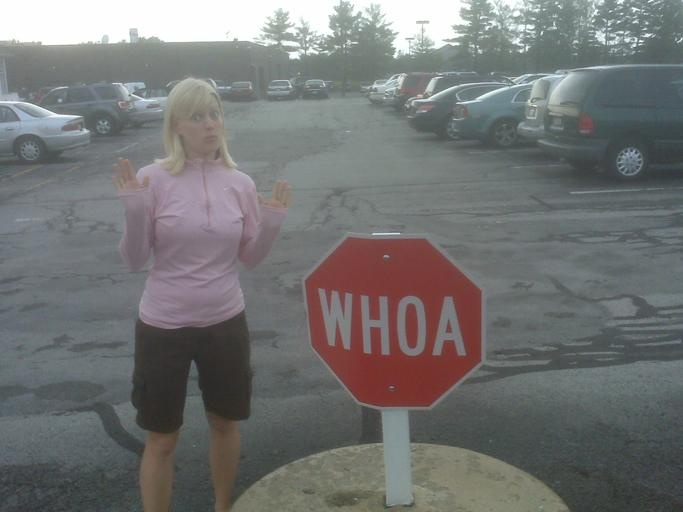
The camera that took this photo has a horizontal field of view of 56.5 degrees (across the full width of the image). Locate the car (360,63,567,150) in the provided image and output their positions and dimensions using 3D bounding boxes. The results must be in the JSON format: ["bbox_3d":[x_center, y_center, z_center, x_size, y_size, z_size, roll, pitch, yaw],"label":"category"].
[{"bbox_3d":[3.834,-3.889,17.753,1.941,1.695,5.580,-8,20,-19],"label":"car"}]

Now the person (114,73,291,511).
[{"bbox_3d":[-0.683,0.277,3.112,0.887,2.171,0.593,-14,22,-32],"label":"person"}]

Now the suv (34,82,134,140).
[{"bbox_3d":[-9.367,-5.550,23.498,3.224,1.530,1.615,6,16,-3],"label":"suv"}]
